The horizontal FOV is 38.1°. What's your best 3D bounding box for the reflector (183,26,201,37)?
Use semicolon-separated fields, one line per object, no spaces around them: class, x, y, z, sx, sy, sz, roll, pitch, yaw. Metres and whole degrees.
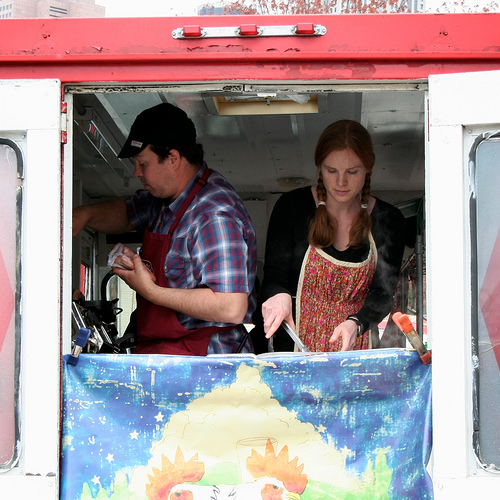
reflector;-0.185;-0.692;2.286;0.049;0.030;0.021;-1;5;2

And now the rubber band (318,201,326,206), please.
rubber band;0.319;-0.205;3.228;0.018;0.019;0.009;1;-18;3

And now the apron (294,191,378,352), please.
apron;0.385;0.111;3.184;0.271;0.635;0.269;1;11;6

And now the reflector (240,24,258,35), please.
reflector;-0.004;-0.695;2.280;0.056;0.033;0.012;-2;3;-2

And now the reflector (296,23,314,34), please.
reflector;0.173;-0.696;2.272;0.056;0.033;0.019;-2;3;0

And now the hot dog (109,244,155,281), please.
hot dog;-0.508;0.056;2.971;0.211;0.102;0.071;23;-19;-12
